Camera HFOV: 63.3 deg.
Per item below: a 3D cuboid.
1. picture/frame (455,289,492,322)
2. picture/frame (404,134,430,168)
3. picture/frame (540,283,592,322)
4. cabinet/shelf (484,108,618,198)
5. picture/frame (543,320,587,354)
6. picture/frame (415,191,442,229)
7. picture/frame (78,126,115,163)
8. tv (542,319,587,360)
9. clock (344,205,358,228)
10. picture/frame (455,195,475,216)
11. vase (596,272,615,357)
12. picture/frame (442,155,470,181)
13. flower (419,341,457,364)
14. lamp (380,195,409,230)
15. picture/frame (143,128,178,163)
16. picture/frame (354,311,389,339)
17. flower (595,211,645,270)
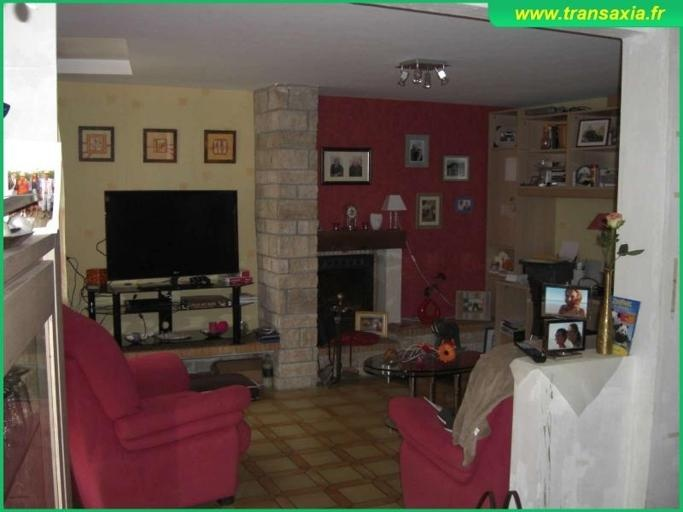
[{"bbox_3d":[1.598,0.619,6.763,0.371,0.314,0.120,1,2,0],"label":"picture/frame"},{"bbox_3d":[0.865,-1.249,6.514,0.400,0.449,0.024,-4,7,-28],"label":"picture/frame"},{"bbox_3d":[1.082,0.228,2.678,0.232,0.167,0.032,4,-1,22],"label":"picture/frame"},{"bbox_3d":[2.368,-1.182,6.210,0.633,1.114,1.644,-2,7,-23],"label":"cabinet/shelf"},{"bbox_3d":[1.033,0.377,2.591,0.169,0.115,0.022,0,3,-17],"label":"picture/frame"},{"bbox_3d":[1.018,-0.567,6.630,0.461,0.520,0.037,-3,6,-26],"label":"picture/frame"},{"bbox_3d":[-2.338,-1.069,5.258,0.374,0.375,0.027,-1,6,-25],"label":"picture/frame"},{"bbox_3d":[1.033,0.390,2.587,0.193,0.142,0.060,0,3,-15],"label":"tv"},{"bbox_3d":[0.113,-0.433,6.197,0.130,0.260,0.226,1,7,0],"label":"clock"},{"bbox_3d":[1.510,-0.629,6.827,0.227,0.202,0.150,3,1,-16],"label":"picture/frame"},{"bbox_3d":[1.273,0.265,2.667,0.073,0.406,0.137,4,8,24],"label":"vase"},{"bbox_3d":[1.362,-1.078,6.725,0.332,0.271,0.045,-2,5,-25],"label":"picture/frame"},{"bbox_3d":[0.796,0.801,4.544,0.162,0.151,0.250,17,-6,-35],"label":"flower"},{"bbox_3d":[0.587,-0.506,6.337,0.373,0.509,0.366,0,3,0],"label":"lamp"},{"bbox_3d":[-1.806,-1.100,5.472,0.367,0.353,0.036,-2,6,-24],"label":"picture/frame"},{"bbox_3d":[0.314,0.754,5.974,0.315,0.259,0.025,1,-2,12],"label":"picture/frame"},{"bbox_3d":[1.400,-0.073,2.763,0.196,0.292,0.469,4,8,28],"label":"flower"}]
